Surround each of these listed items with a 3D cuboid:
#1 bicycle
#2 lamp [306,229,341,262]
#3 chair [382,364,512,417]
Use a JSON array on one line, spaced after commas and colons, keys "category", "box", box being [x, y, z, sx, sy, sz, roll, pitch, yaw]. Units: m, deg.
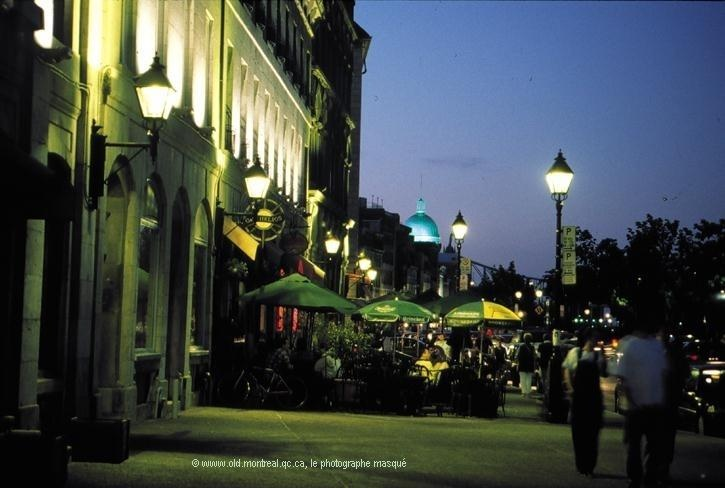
[{"category": "bicycle", "box": [-2.440, 3.732, 23.723, 1.947, 1.422, 1.063, 8, -8, 11]}, {"category": "lamp", "box": [-1.829, 0.011, 42.308, 1.586, 1.852, 1.056, -4, -3, 19]}, {"category": "chair", "box": [2.062, 3.777, 23.657, 2.870, 1.358, 1.362, 1, -13, 4]}]
